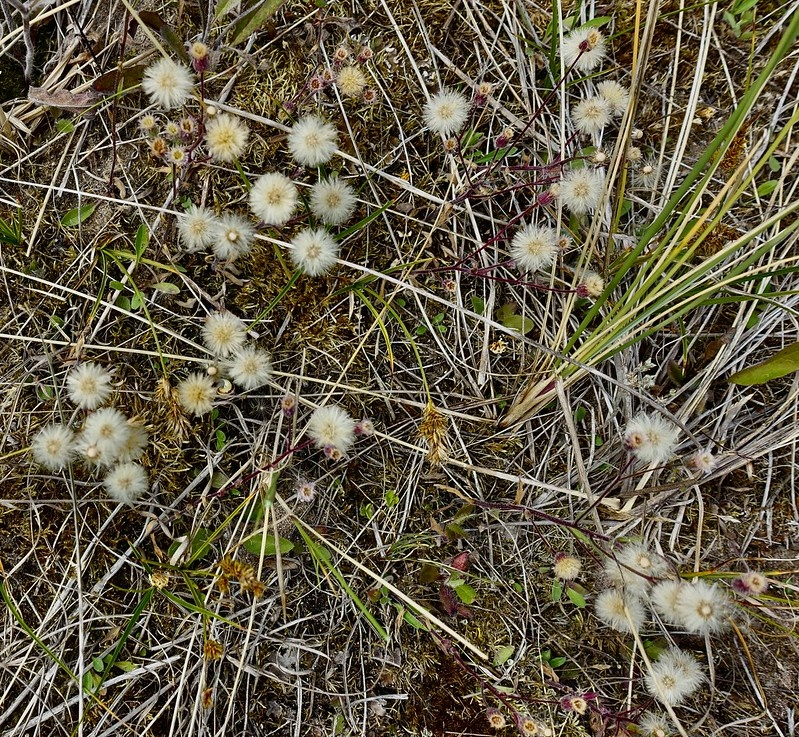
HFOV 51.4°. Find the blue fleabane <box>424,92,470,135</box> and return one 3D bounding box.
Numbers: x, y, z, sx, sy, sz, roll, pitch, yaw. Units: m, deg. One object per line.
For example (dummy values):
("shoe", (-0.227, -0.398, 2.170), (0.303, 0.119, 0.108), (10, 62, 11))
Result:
("blue fleabane", (0.155, -0.839, 2.712), (0.147, 0.075, 0.156), (-4, 76, 2))

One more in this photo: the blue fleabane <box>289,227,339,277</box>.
("blue fleabane", (-0.267, -0.366, 2.597), (0.125, 0.061, 0.163), (1, 82, -9))

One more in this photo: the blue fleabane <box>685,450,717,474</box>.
("blue fleabane", (0.970, 0.302, 2.671), (0.044, 0.064, 0.043), (-33, 88, -2))

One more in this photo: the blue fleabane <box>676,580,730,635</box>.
("blue fleabane", (0.931, 0.721, 2.531), (0.138, 0.068, 0.182), (-3, 83, -13))

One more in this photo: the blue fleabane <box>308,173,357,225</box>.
("blue fleabane", (-0.212, -0.530, 2.645), (0.150, 0.100, 0.146), (-22, 75, -2))

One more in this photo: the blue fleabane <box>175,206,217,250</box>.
("blue fleabane", (-0.643, -0.455, 2.642), (0.141, 0.090, 0.145), (5, 76, 4))

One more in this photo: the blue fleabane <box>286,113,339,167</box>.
("blue fleabane", (-0.274, -0.717, 2.617), (0.154, 0.072, 0.164), (-19, 76, -2))

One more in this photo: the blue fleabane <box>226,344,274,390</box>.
("blue fleabane", (-0.474, -0.005, 2.617), (0.141, 0.081, 0.123), (-5, 75, 2))

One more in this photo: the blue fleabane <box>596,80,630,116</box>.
("blue fleabane", (0.703, -0.902, 2.760), (0.108, 0.056, 0.135), (9, 110, 37))

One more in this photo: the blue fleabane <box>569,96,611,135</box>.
("blue fleabane", (0.641, -0.830, 2.765), (0.129, 0.109, 0.109), (3, 75, 4))

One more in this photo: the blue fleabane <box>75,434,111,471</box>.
("blue fleabane", (-0.954, 0.257, 2.550), (0.093, 0.036, 0.118), (11, 111, 14))

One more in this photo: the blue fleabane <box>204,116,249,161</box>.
("blue fleabane", (-0.544, -0.742, 2.591), (0.119, 0.053, 0.122), (38, 67, 19))

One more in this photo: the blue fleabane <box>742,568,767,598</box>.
("blue fleabane", (1.081, 0.642, 2.510), (0.057, 0.032, 0.074), (1, 77, -5))

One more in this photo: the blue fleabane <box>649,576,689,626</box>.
("blue fleabane", (0.844, 0.726, 2.598), (0.117, 0.046, 0.135), (-34, 58, 33))

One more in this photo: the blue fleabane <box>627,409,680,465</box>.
("blue fleabane", (0.793, 0.223, 2.612), (0.143, 0.073, 0.187), (1, 71, -10))

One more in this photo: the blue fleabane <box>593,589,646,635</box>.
("blue fleabane", (0.694, 0.748, 2.597), (0.123, 0.060, 0.139), (-16, 49, -21))

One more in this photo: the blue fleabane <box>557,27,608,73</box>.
("blue fleabane", (0.600, -1.035, 2.696), (0.123, 0.072, 0.151), (19, 103, -1))

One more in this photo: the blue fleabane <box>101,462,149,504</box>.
("blue fleabane", (-0.849, 0.350, 2.569), (0.119, 0.061, 0.112), (-10, 76, 1))

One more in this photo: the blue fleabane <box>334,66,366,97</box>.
("blue fleabane", (-0.158, -0.938, 2.706), (0.087, 0.091, 0.104), (4, 75, 4))

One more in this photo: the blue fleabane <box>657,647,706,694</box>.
("blue fleabane", (0.901, 0.930, 2.631), (0.123, 0.055, 0.128), (-20, 61, -48))

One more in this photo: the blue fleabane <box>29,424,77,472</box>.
("blue fleabane", (-1.074, 0.238, 2.573), (0.116, 0.038, 0.151), (-4, 78, -3))

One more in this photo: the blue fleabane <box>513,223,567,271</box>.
("blue fleabane", (0.450, -0.441, 2.762), (0.179, 0.211, 0.090), (-6, 87, 7))

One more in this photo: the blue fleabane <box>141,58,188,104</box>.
("blue fleabane", (-0.723, -0.886, 2.596), (0.142, 0.086, 0.132), (-12, 75, 0))
